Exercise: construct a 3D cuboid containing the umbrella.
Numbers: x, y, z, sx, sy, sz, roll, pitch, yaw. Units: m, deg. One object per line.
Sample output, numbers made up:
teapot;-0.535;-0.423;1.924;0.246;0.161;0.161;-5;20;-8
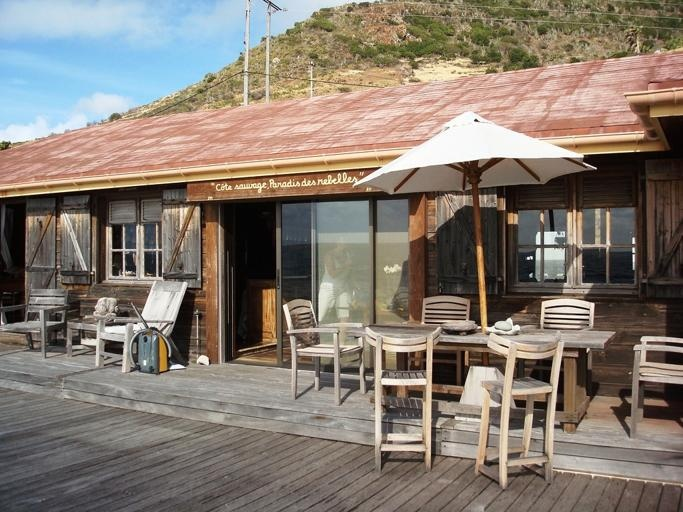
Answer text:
umbrella;1.575;-0.223;8.682;2.776;2.300;2.769;-4;2;-29
